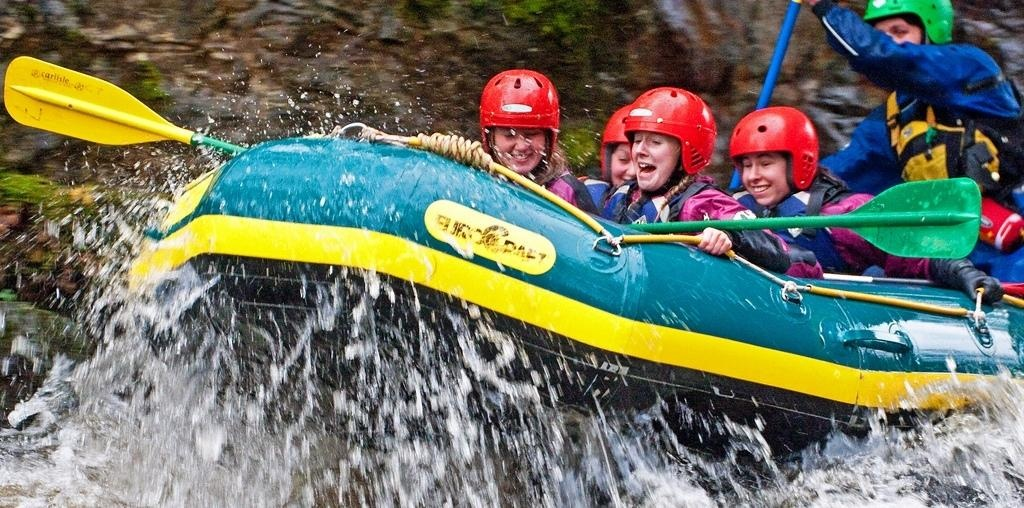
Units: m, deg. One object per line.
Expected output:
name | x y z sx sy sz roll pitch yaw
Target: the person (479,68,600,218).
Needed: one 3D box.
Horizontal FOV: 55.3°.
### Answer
person | 0.191 -1.016 8.473 0.891 1.272 0.663 1 16 7
